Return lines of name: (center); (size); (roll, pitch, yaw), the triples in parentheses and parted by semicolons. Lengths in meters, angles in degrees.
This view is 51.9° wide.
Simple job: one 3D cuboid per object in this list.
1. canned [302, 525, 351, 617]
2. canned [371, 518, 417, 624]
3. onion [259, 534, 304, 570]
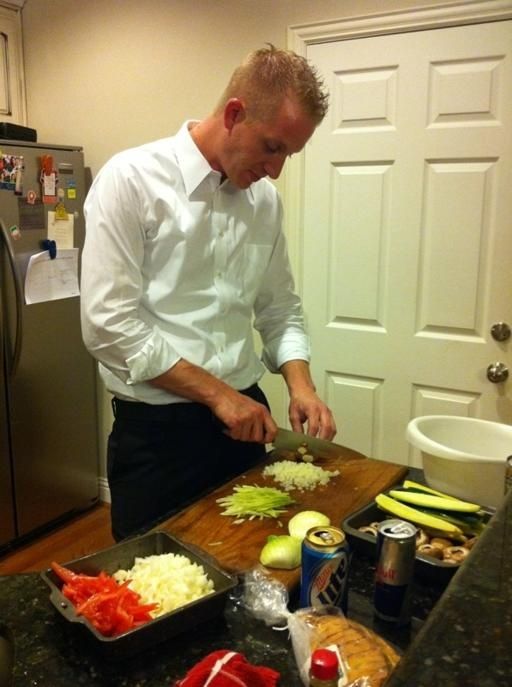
canned: (0.092, 0.313, 0.703); (0.064, 0.121, 0.057); (-1, 6, 4)
canned: (0.195, 0.328, 0.739); (0.055, 0.152, 0.054); (0, 6, 13)
onion: (0.039, 0.348, 0.898); (0.050, 0.031, 0.049); (-22, 30, -21)
